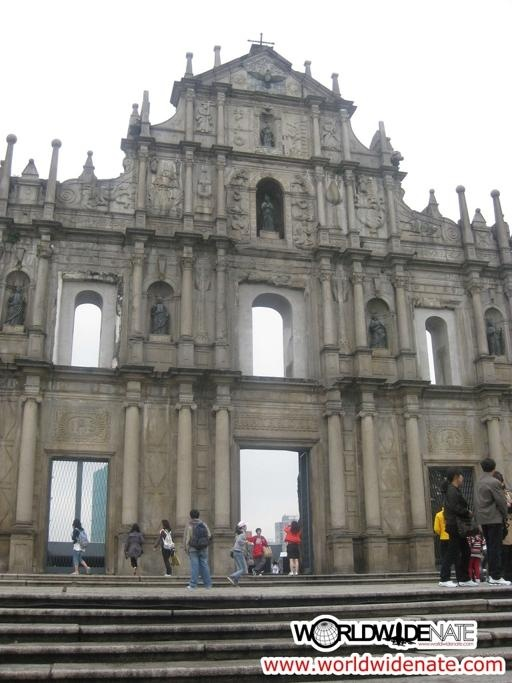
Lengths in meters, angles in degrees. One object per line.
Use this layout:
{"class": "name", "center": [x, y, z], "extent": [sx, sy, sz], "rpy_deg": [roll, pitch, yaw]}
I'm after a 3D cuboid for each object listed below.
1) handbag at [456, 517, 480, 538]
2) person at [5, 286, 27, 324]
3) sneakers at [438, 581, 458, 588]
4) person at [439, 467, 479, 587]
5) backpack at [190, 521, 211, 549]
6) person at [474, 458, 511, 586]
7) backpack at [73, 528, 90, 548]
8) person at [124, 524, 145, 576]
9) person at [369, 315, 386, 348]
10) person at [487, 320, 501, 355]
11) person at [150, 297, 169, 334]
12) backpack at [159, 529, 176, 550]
{"class": "handbag", "center": [2.982, 2.591, 10.189], "extent": [0.285, 0.225, 0.324], "rpy_deg": [-7, -23, 13]}
{"class": "person", "center": [-6.951, -1.084, 20.763], "extent": [0.555, 1.360, 0.334], "rpy_deg": [4, -23, -14]}
{"class": "sneakers", "center": [2.830, 3.541, 10.645], "extent": [0.264, 0.116, 0.114], "rpy_deg": [-4, -12, 18]}
{"class": "person", "center": [2.936, 2.675, 10.481], "extent": [0.540, 1.678, 0.453], "rpy_deg": [13, -17, -29]}
{"class": "backpack", "center": [-0.995, 3.327, 12.490], "extent": [0.345, 0.503, 0.325], "rpy_deg": [2, -22, -8]}
{"class": "person", "center": [3.504, 2.658, 10.600], "extent": [0.469, 1.733, 1.179], "rpy_deg": [-8, -23, 15]}
{"class": "backpack", "center": [-4.304, 4.793, 17.637], "extent": [0.183, 0.459, 0.428], "rpy_deg": [-16, -27, 32]}
{"class": "person", "center": [-3.111, 5.202, 18.281], "extent": [0.458, 1.381, 1.873], "rpy_deg": [2, -23, -8]}
{"class": "person", "center": [3.931, -0.361, 23.282], "extent": [0.635, 1.220, 0.270], "rpy_deg": [1, -22, -7]}
{"class": "person", "center": [8.046, -0.216, 24.403], "extent": [0.546, 1.330, 0.258], "rpy_deg": [12, -26, -30]}
{"class": "person", "center": [-2.919, -0.779, 21.735], "extent": [0.599, 1.287, 0.329], "rpy_deg": [5, -23, -15]}
{"class": "backpack", "center": [-2.141, 4.640, 17.060], "extent": [0.282, 0.506, 0.569], "rpy_deg": [-1, -22, -1]}
